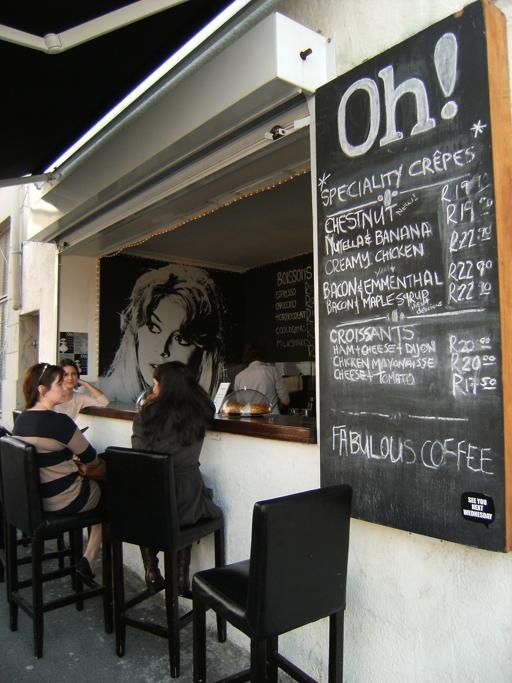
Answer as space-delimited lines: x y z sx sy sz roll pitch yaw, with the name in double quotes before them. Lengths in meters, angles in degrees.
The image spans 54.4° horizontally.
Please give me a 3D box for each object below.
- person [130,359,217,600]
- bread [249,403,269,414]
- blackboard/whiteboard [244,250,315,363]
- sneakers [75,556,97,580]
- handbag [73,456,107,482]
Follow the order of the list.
"person" -0.415 0.662 2.409 0.403 1.148 0.427 0 6 -9
"bread" 0.022 0.360 2.648 0.069 0.057 0.174 -6 -7 42
"blackboard/whiteboard" 0.283 -0.381 5.370 0.134 1.241 0.933 1 -3 -39
"sneakers" -0.894 1.192 2.611 0.051 0.072 0.168 -1 -44 13
"handbag" -0.854 0.661 2.601 0.128 0.077 0.180 25 -4 -23
